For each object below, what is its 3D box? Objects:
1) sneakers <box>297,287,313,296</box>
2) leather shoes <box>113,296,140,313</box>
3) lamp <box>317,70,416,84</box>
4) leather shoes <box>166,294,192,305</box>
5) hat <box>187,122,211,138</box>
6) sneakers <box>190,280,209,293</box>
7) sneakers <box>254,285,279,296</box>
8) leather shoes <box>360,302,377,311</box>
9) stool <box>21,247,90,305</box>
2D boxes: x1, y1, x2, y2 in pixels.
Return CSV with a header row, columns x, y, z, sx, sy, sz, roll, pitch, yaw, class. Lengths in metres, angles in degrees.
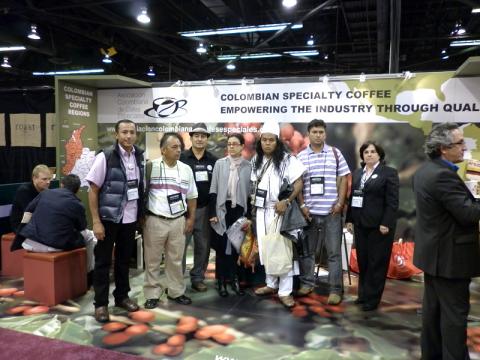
x,y,z,sx,sy,sz,roll,pitch,yaw,class
0.826,1.438,4.272,0.085,0.091,0.240,-11,-19,32,sneakers
-1.315,1.439,3.865,0.311,0.125,0.125,-2,-2,28,leather shoes
1.886,-1.529,4.979,1.370,0.138,0.197,2,7,12,lamp
-0.736,1.442,4.067,0.262,0.105,0.108,-1,-1,22,leather shoes
-0.573,-0.708,4.719,0.292,0.175,0.386,1,-17,-6,hat
-0.538,1.414,4.436,0.094,0.101,0.240,1,-5,-42,sneakers
0.329,1.407,4.283,0.314,0.132,0.113,4,-3,-5,sneakers
1.494,1.482,3.890,0.199,0.081,0.073,12,-18,-21,leather shoes
-2.301,1.160,4.162,0.516,0.540,0.534,1,0,22,stool
